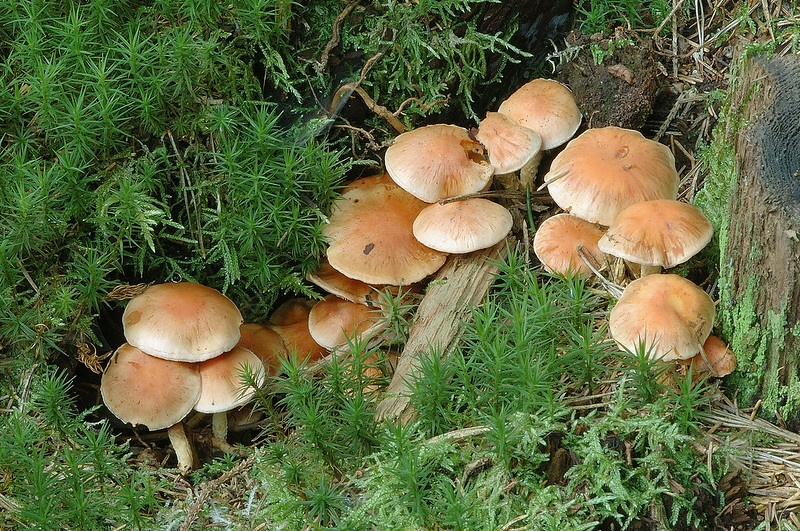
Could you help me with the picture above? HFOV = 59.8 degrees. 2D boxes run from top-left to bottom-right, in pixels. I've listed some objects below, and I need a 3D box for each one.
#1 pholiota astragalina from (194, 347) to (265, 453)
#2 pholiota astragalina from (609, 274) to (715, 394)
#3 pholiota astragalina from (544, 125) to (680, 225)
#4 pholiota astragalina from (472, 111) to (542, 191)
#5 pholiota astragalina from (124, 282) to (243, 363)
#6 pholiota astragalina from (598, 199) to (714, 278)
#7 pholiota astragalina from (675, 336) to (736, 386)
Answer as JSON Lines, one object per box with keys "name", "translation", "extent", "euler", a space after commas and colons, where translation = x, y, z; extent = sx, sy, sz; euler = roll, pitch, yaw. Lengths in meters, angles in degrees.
{"name": "pholiota astragalina", "translation": [-1.087, 0.879, 4.260], "extent": [0.378, 0.406, 0.420], "euler": [-1, 108, -9]}
{"name": "pholiota astragalina", "translation": [1.391, 0.265, 3.681], "extent": [0.570, 0.224, 0.485], "euler": [-14, 64, -4]}
{"name": "pholiota astragalina", "translation": [1.196, -0.559, 3.952], "extent": [0.755, 0.780, 0.210], "euler": [10, 78, 13]}
{"name": "pholiota astragalina", "translation": [0.644, -0.781, 4.360], "extent": [0.365, 0.132, 0.421], "euler": [-40, 69, -16]}
{"name": "pholiota astragalina", "translation": [-1.294, 0.326, 4.139], "extent": [0.646, 0.217, 0.477], "euler": [-2, 64, 1]}
{"name": "pholiota astragalina", "translation": [1.440, -0.176, 3.911], "extent": [0.440, 0.406, 0.445], "euler": [15, 61, 13]}
{"name": "pholiota astragalina", "translation": [1.639, 0.499, 3.709], "extent": [0.264, 0.119, 0.275], "euler": [-32, 45, -6]}
